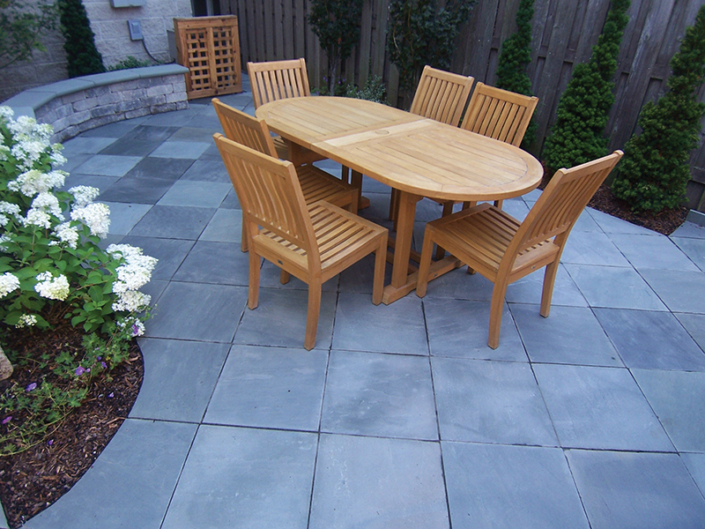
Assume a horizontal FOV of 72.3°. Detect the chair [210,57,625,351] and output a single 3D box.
[{"bbox_3d":[0.514,-0.624,3.587,1.569,1.188,2.415,-24,44,-33],"label":"chair"}]
